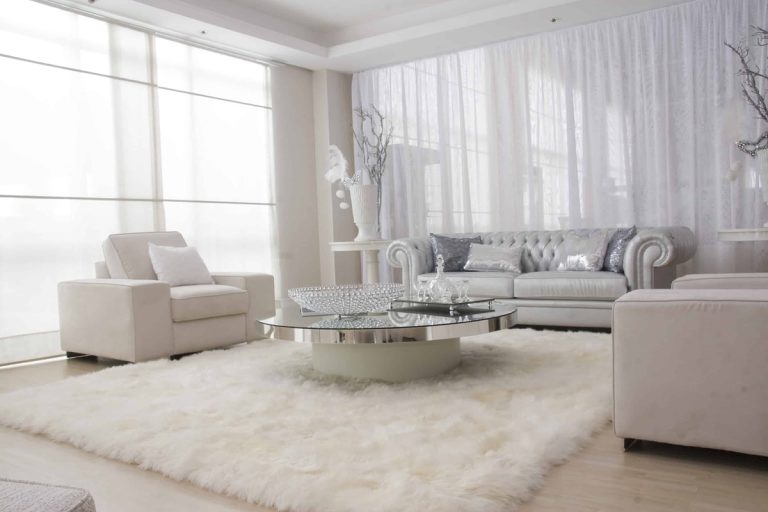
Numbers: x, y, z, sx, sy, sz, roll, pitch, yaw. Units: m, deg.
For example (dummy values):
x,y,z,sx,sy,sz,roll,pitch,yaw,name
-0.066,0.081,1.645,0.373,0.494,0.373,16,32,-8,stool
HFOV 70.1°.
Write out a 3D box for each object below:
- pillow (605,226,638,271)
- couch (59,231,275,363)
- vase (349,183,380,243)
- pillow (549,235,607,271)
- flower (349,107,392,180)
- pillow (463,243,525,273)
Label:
x,y,z,sx,sy,sz,roll,pitch,yaw,name
2.240,-0.069,5.222,0.141,0.387,0.423,15,11,10,pillow
-1.928,0.331,4.959,1.181,0.956,1.545,1,3,27,couch
-0.242,-0.526,6.572,0.319,0.673,0.365,-3,10,-2,vase
1.927,-0.069,5.326,0.129,0.373,0.417,28,-16,-25,pillow
-0.187,-1.552,7.552,0.564,1.085,0.295,6,14,43,flower
1.184,0.096,5.825,0.479,0.305,0.121,5,-26,15,pillow
